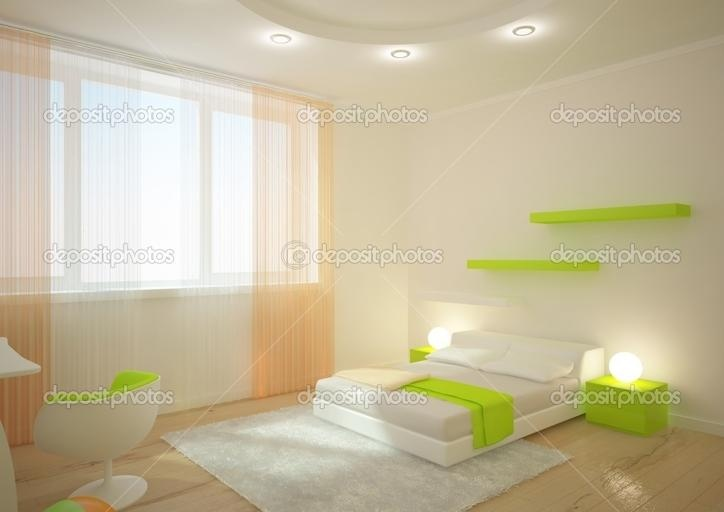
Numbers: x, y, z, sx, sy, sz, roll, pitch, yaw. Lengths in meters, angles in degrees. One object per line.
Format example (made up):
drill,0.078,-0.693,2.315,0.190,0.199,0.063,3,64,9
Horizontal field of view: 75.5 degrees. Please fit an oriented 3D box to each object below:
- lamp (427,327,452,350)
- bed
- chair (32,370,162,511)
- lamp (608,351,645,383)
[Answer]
lamp,0.377,0.395,2.277,0.116,0.098,0.101,7,-13,31
bed,0.526,0.700,2.355,1.141,0.321,0.853,1,-2,-37
chair,-1.339,0.908,2.421,0.540,0.726,0.269,4,14,2
lamp,0.971,0.416,1.730,0.114,0.117,0.069,11,15,28
